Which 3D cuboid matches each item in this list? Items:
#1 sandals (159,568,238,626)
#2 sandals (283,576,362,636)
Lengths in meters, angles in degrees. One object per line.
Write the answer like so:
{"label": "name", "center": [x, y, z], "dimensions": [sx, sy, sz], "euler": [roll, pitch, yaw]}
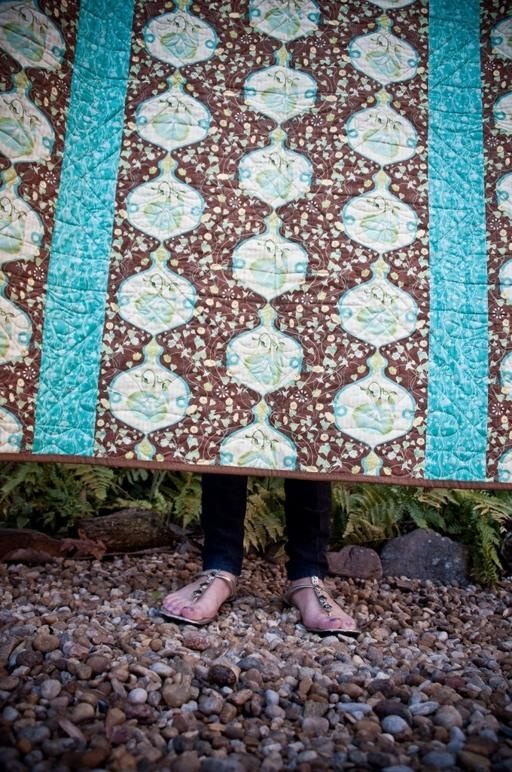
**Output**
{"label": "sandals", "center": [-0.187, 0.681, 2.064], "dimensions": [0.170, 0.155, 0.232], "euler": [14, 33, 17]}
{"label": "sandals", "center": [0.201, 0.691, 2.111], "dimensions": [0.165, 0.133, 0.414], "euler": [4, -5, -12]}
